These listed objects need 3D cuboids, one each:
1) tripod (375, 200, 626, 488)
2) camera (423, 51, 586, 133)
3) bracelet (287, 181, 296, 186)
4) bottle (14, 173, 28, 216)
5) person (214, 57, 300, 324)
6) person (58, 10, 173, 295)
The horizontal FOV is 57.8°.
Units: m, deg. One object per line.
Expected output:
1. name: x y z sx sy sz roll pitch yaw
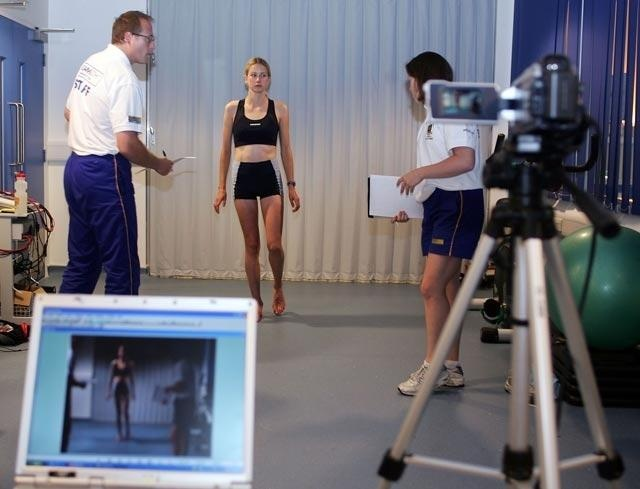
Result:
1. tripod: 0.476 0.159 1.625 0.621 1.006 0.572 8 12 34
2. camera: 0.471 -0.373 1.452 0.381 0.145 0.279 8 12 38
3. bracelet: -0.206 -0.429 4.127 0.058 0.051 0.072 -2 2 3
4. bottle: -1.856 -0.314 3.562 0.066 0.250 0.158 -3 8 -26
5. person: -0.443 -0.384 4.028 0.580 1.769 0.488 -1 7 -10
6. person: -0.991 -0.439 2.772 0.507 1.344 0.387 -1 7 -16
